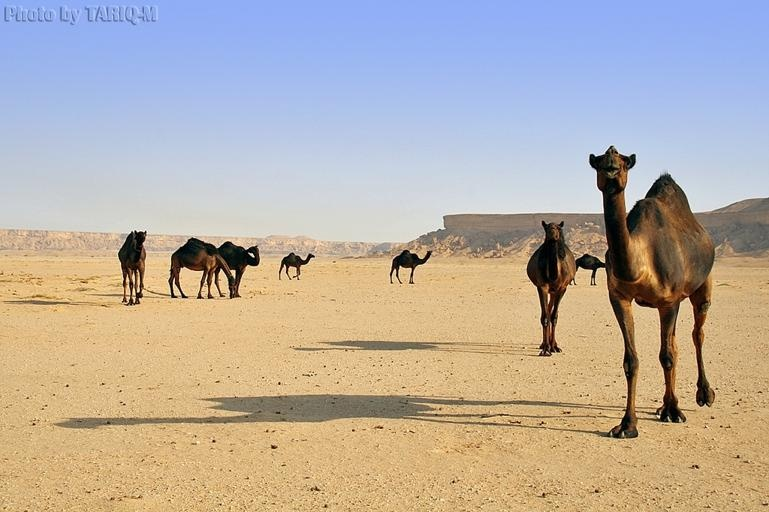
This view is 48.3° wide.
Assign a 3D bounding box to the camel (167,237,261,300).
[{"bbox_3d":[-6.672,0.432,33.288,2.081,2.266,3.677,1,1,17],"label":"camel"}]

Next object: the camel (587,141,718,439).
[{"bbox_3d":[4.705,0.655,14.912,1.873,4.913,3.291,1,1,20],"label":"camel"}]

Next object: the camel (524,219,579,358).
[{"bbox_3d":[4.003,0.731,20.639,1.041,3.152,2.229,1,1,10],"label":"camel"}]
